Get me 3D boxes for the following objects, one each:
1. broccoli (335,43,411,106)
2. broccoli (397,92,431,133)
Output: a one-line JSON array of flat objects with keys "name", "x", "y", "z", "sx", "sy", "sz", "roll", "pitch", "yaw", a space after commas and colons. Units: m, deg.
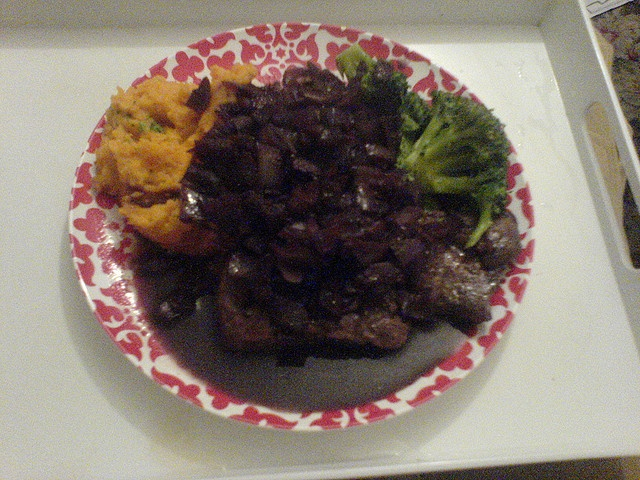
[{"name": "broccoli", "x": 0.300, "y": -0.903, "z": 3.226, "sx": 0.420, "sy": 0.185, "sz": 0.272, "roll": 43, "pitch": 96, "yaw": 17}, {"name": "broccoli", "x": 0.515, "y": -0.685, "z": 3.170, "sx": 0.196, "sy": 0.092, "sz": 0.218, "roll": -7, "pitch": 80, "yaw": -8}]
